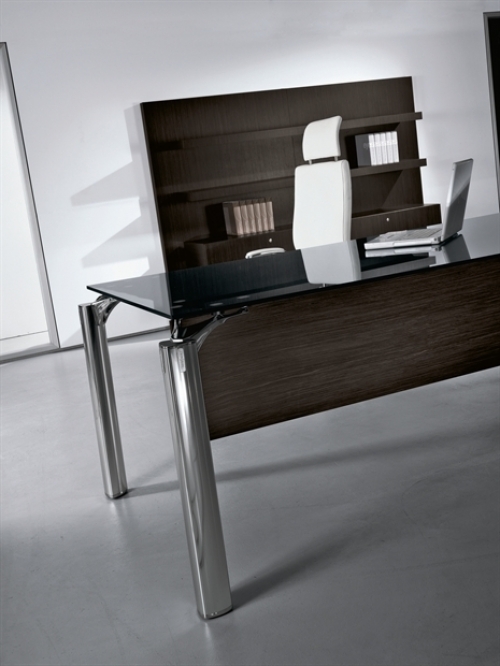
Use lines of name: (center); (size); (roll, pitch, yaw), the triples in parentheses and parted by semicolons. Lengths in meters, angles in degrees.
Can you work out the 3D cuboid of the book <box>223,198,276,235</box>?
book: (0.001, -1.093, 5.040); (0.579, 0.412, 0.312); (-14, 18, -36)
